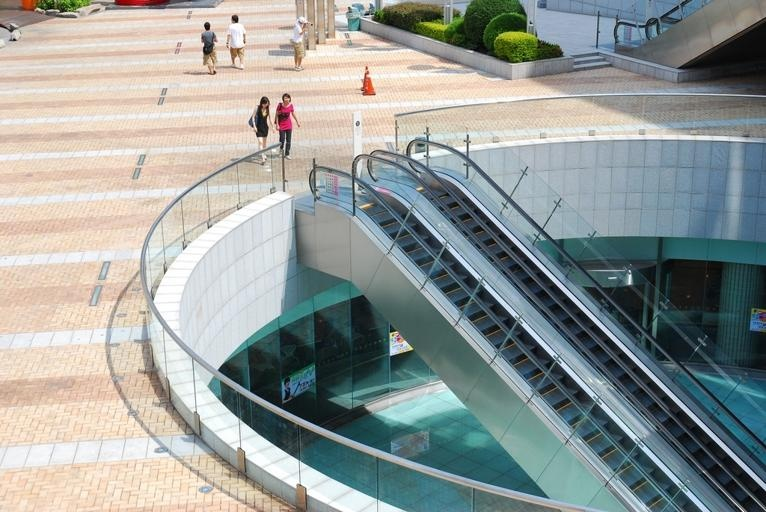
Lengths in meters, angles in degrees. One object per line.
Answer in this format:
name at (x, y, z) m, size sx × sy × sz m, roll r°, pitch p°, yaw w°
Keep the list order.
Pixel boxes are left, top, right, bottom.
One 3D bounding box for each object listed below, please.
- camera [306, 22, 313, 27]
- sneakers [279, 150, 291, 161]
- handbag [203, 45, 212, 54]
camera at (-2.910, -9.160, 28.128) m, size 0.156 × 0.098 × 0.404 m, roll -19°, pitch 20°, yaw -3°
sneakers at (-2.185, -2.247, 15.881) m, size 0.334 × 0.220 × 0.110 m, roll 3°, pitch 64°, yaw -9°
handbag at (-6.080, -7.167, 24.698) m, size 0.274 × 0.191 × 0.205 m, roll -21°, pitch 29°, yaw 4°
